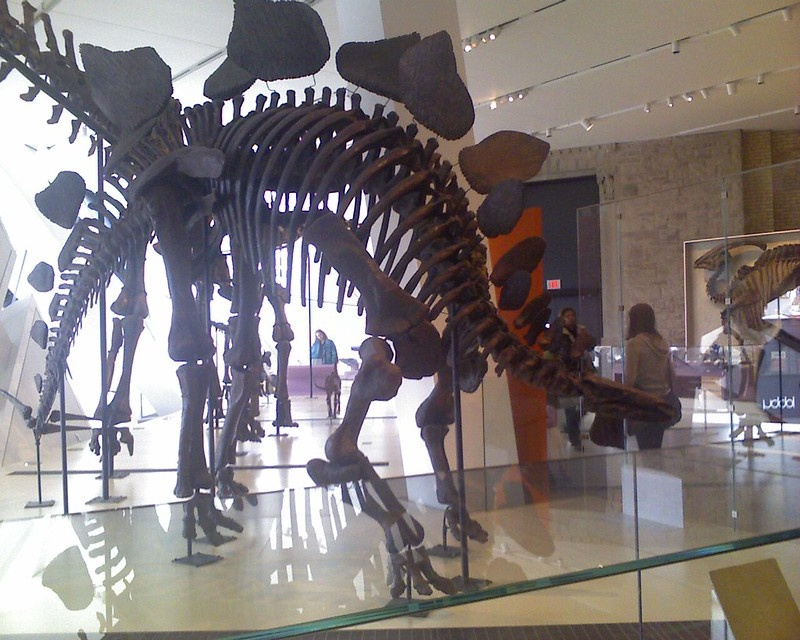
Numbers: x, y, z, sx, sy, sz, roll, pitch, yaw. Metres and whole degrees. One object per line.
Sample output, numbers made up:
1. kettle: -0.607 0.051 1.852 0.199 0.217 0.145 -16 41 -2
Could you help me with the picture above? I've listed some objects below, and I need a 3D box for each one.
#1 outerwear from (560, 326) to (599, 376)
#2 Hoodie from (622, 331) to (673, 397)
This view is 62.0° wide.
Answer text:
1. outerwear: 0.907 0.159 3.376 0.151 0.278 0.087 0 -13 1
2. Hoodie: 1.719 0.300 4.570 0.355 0.565 0.220 -1 6 3
